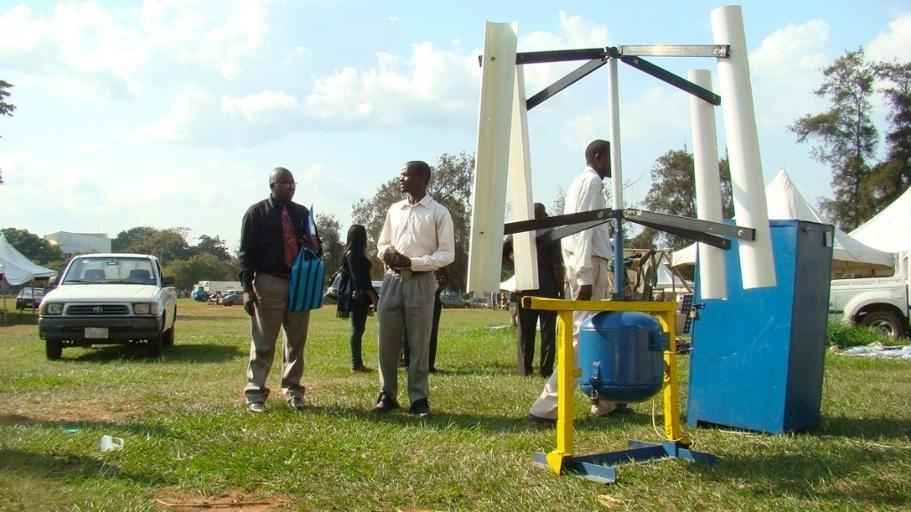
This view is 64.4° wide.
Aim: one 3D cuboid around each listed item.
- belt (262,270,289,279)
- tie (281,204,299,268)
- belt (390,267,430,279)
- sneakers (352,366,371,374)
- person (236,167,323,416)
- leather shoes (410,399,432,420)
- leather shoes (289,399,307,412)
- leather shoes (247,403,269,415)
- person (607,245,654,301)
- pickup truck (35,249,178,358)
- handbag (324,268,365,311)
[{"bbox_3d":[-2.461,0.262,9.995,0.322,0.106,0.030,-2,11,-12],"label":"belt"},{"bbox_3d":[-2.297,-0.261,10.054,0.233,0.972,0.055,-7,-4,30],"label":"tie"},{"bbox_3d":[-0.618,0.232,9.843,0.492,0.131,0.176,0,11,-1],"label":"belt"},{"bbox_3d":[-1.661,2.026,12.918,0.340,0.142,0.123,0,1,-8],"label":"sneakers"},{"bbox_3d":[-2.534,0.400,10.041,0.788,3.147,1.300,8,14,35],"label":"person"},{"bbox_3d":[-0.459,2.033,9.730,0.281,0.207,0.223,0,11,-2],"label":"leather shoes"},{"bbox_3d":[-2.174,2.012,9.961,0.216,0.100,0.264,-4,12,-21],"label":"leather shoes"},{"bbox_3d":[-2.652,2.026,9.714,0.256,0.088,0.281,-2,11,-15],"label":"leather shoes"},{"bbox_3d":[3.620,0.298,14.584,0.717,1.123,0.762,-15,27,-4],"label":"person"},{"bbox_3d":[-7.170,0.850,14.864,1.862,1.450,3.187,0,-7,-11],"label":"pickup truck"},{"bbox_3d":[-1.977,0.627,12.904,0.320,0.745,0.730,-6,-9,28],"label":"handbag"}]
